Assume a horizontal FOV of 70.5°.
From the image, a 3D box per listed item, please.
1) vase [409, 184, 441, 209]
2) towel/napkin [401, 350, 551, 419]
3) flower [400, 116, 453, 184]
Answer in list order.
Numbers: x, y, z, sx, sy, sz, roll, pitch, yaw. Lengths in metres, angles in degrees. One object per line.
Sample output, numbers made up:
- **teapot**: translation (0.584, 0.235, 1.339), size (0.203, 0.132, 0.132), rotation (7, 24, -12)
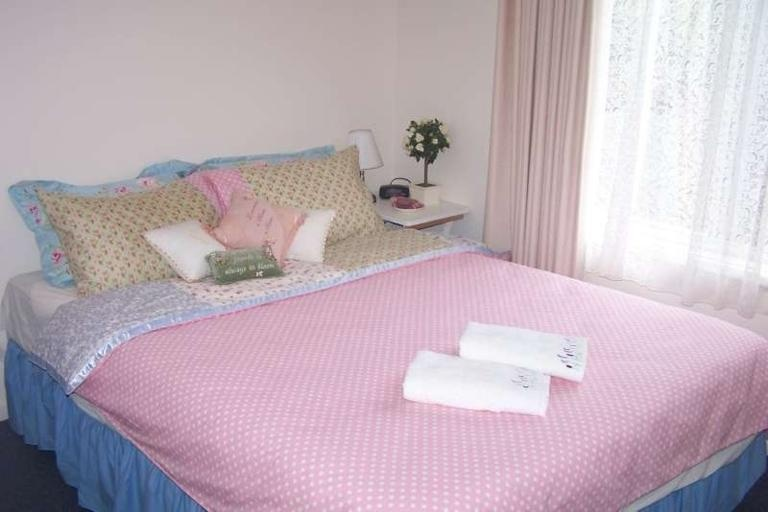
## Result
- **vase**: translation (0.326, -0.487, 4.353), size (0.198, 0.149, 0.196), rotation (-8, 13, -37)
- **towel/napkin**: translation (0.342, 0.493, 2.074), size (0.421, 0.078, 0.243), rotation (8, 27, 13)
- **flower**: translation (0.332, -0.798, 4.272), size (0.318, 0.420, 0.337), rotation (-16, 17, -34)
